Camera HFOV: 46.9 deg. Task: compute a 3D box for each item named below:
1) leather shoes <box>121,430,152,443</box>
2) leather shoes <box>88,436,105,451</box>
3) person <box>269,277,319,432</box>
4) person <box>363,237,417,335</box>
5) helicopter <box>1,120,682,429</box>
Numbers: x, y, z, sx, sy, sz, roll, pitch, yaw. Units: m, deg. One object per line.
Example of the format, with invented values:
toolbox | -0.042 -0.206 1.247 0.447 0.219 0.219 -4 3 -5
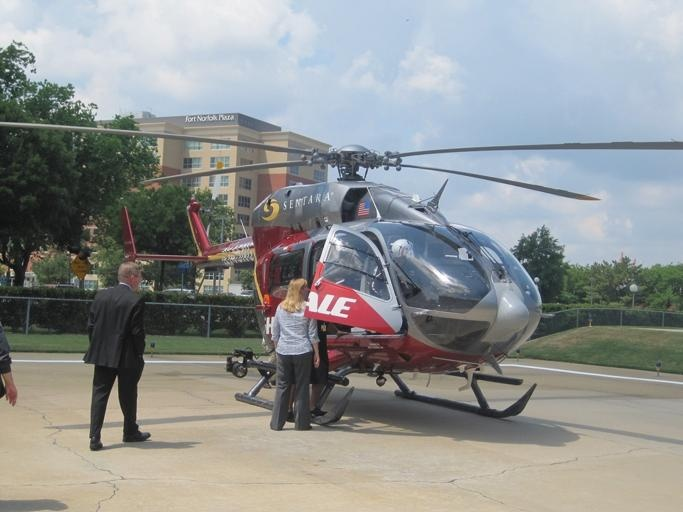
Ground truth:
leather shoes | -2.902 2.553 11.266 0.459 0.157 0.135 -3 7 -25
leather shoes | -3.340 2.544 10.793 0.186 0.198 0.264 4 0 -15
person | -0.734 1.517 12.340 0.773 2.380 0.328 5 0 -3
person | 0.806 0.367 12.502 0.502 1.599 0.808 5 0 -21
helicopter | -0.460 0.298 15.069 7.178 2.422 8.236 3 -5 -36
